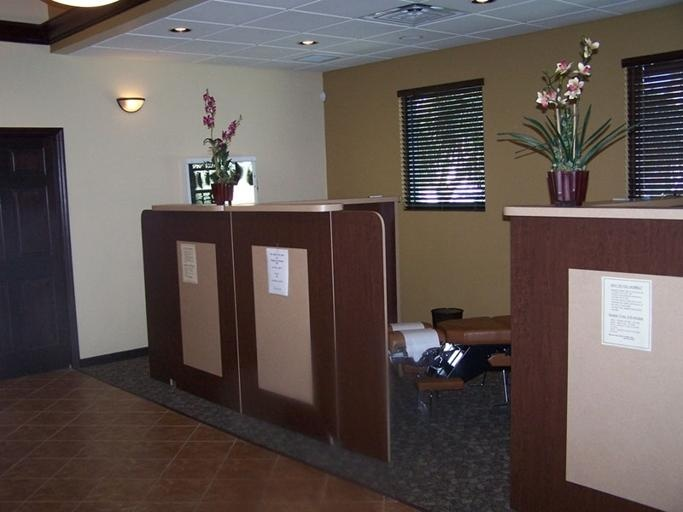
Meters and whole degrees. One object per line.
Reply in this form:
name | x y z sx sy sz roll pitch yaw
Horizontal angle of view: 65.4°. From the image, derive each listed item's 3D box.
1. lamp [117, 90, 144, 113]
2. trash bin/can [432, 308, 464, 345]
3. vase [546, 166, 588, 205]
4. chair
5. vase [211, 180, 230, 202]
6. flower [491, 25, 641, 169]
lamp | -2.617 -1.850 6.582 0.312 0.217 0.217 -3 6 -24
trash bin/can | 1.268 0.817 6.379 0.401 0.359 0.447 0 -1 9
vase | 1.345 -0.408 3.171 0.221 0.216 0.228 1 8 23
chair | 0.950 1.004 4.634 1.074 0.907 0.714 -1 8 5
vase | -1.133 -0.591 4.989 0.206 0.210 0.172 -2 8 1
flower | 1.456 -0.907 3.330 0.579 0.806 0.698 5 5 31
